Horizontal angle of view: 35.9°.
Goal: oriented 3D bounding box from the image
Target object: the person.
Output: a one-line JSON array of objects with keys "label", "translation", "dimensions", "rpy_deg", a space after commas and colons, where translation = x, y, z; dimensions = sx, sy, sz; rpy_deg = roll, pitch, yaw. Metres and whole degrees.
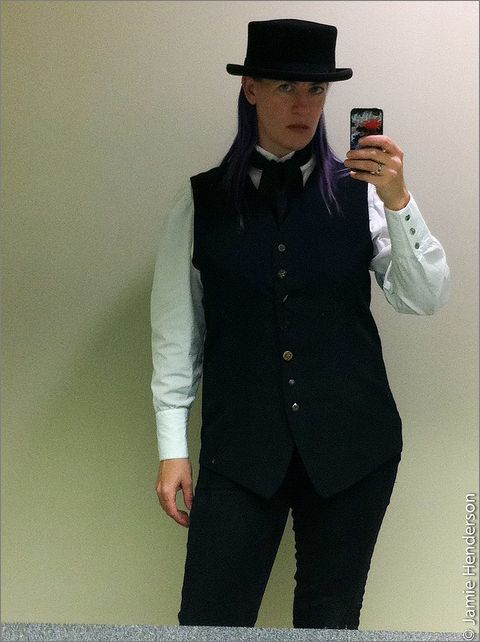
[{"label": "person", "translation": [0.068, 0.029, 1.753], "dimensions": [0.613, 1.514, 0.288], "rpy_deg": [0, 3, 4]}]

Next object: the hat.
[{"label": "hat", "translation": [0.109, -0.605, 1.661], "dimensions": [0.255, 0.081, 0.190], "rpy_deg": [-6, 19, -23]}]

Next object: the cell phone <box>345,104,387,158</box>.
[{"label": "cell phone", "translation": [0.273, -0.418, 1.600], "dimensions": [0.068, 0.112, 0.116], "rpy_deg": [0, 3, 9]}]

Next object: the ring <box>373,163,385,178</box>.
[{"label": "ring", "translation": [0.289, -0.314, 1.539], "dimensions": [0.020, 0.009, 0.023], "rpy_deg": [-13, -30, -6]}]
